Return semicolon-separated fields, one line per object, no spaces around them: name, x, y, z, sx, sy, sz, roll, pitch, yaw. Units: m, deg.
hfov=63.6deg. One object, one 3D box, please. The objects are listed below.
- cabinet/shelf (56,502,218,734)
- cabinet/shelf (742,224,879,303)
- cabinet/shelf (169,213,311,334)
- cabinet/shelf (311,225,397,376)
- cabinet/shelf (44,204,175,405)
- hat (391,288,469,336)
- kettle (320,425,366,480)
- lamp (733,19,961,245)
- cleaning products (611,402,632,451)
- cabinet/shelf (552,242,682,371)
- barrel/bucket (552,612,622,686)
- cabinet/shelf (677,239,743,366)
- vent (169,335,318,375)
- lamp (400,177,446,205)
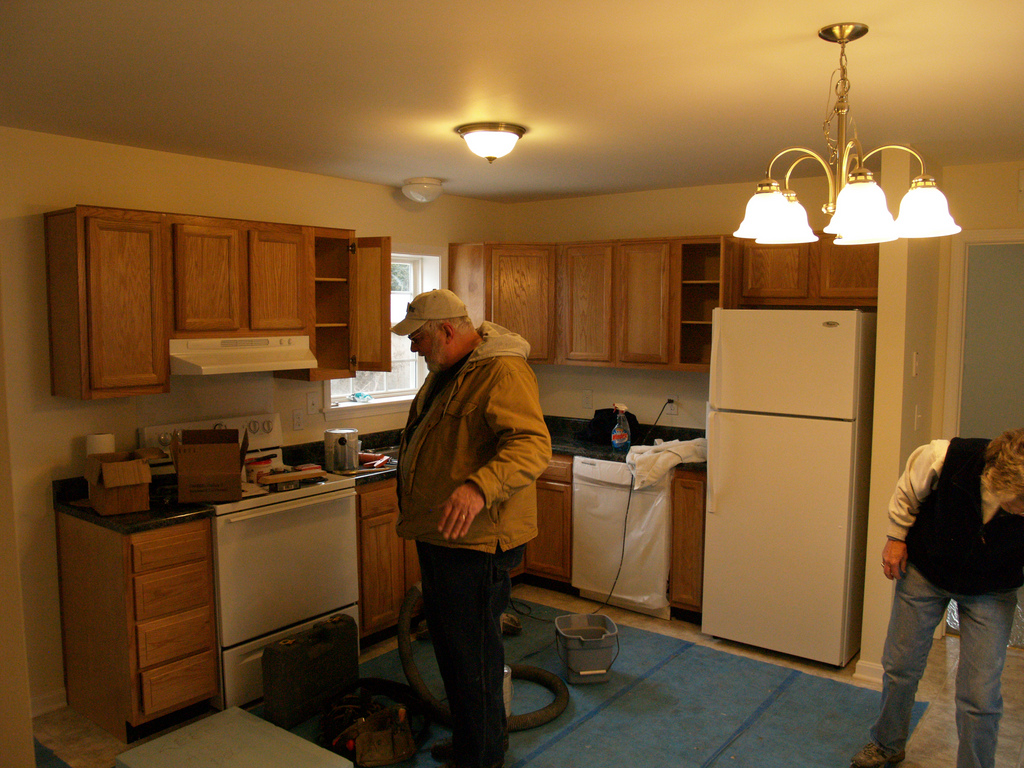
cabinet/shelf;-1.872;1.167;4.016;0.844;1.055;0.392;5;9;14
cabinet/shelf;1.832;-0.688;5.161;0.874;0.425;0.454;1;-4;7
cabinet/shelf;-1.546;-0.560;4.564;0.742;0.616;0.386;-4;3;-41
cabinet/shelf;-0.934;-0.459;4.973;0.466;0.860;0.706;-2;3;-41
cabinet/shelf;-1.937;-0.395;4.196;0.500;0.900;0.449;-1;2;-28
hat;-0.327;-0.300;3.394;0.263;0.137;0.171;-4;5;-10
kettle;-0.981;0.397;4.823;0.217;0.236;0.221;0;0;1
lamp;1.206;-0.925;3.012;0.815;0.730;0.745;-5;12;-20
cleaning products;0.744;0.296;5.605;0.124;0.275;0.286;4;9;6
cabinet/shelf;0.785;-0.561;5.690;0.935;0.881;0.353;4;8;38
barrel/bucket;0.396;1.411;4.440;0.333;0.249;0.305;0;-4;0
cabinet/shelf;1.256;-0.509;5.374;0.404;0.829;0.251;2;8;29
vent;-1.454;-0.155;4.376;0.170;0.202;0.752;2;2;41
lamp;-0.587;-1.257;5.362;0.161;0.095;0.164;0;7;18
